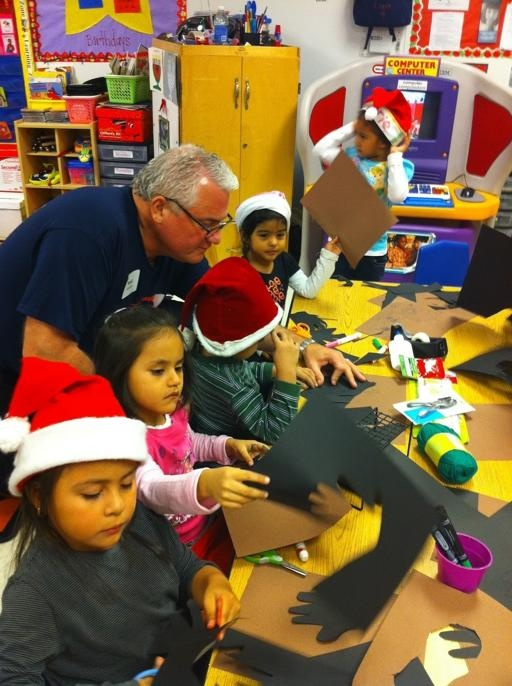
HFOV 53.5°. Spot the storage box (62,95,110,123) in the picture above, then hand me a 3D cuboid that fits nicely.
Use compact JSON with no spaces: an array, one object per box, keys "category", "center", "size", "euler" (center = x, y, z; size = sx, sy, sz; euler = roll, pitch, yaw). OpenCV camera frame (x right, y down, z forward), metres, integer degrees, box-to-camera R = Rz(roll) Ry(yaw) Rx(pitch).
[{"category":"storage box","center":[-1.255,-1.662,3.622],"size":[0.197,0.153,0.243],"euler":[0,43,-4]}]

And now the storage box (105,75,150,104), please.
[{"category":"storage box","center":[-0.901,-1.749,3.502],"size":[0.197,0.134,0.265],"euler":[6,31,1]}]

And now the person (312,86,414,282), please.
[{"category":"person","center":[0.596,-0.762,2.745],"size":[0.550,1.089,0.574],"euler":[4,28,4]}]

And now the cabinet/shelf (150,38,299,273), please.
[{"category":"cabinet/shelf","center":[-0.125,-1.261,3.586],"size":[0.849,1.432,1.208],"euler":[0,26,-1]}]

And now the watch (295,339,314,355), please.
[{"category":"watch","center":[0.151,0.008,1.586],"size":[0.057,0.051,0.035],"euler":[-23,75,-45]}]

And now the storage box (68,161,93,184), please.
[{"category":"storage box","center":[-1.322,-1.284,3.818],"size":[0.156,0.122,0.091],"euler":[4,34,1]}]

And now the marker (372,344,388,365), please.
[{"category":"marker","center":[0.397,0.034,1.595],"size":[0.046,0.012,0.052],"euler":[-7,35,45]}]

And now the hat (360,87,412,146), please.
[{"category":"hat","center":[0.667,-1.120,2.558],"size":[0.189,0.299,0.250],"euler":[-23,36,-38]}]

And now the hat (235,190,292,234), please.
[{"category":"hat","center":[0.036,-0.512,1.984],"size":[0.160,0.105,0.187],"euler":[-10,20,-24]}]

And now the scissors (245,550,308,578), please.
[{"category":"scissors","center":[0.031,0.375,0.864],"size":[0.088,0.014,0.034],"euler":[11,1,23]}]

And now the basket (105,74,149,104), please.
[{"category":"basket","center":[-0.900,-1.756,3.509],"size":[0.201,0.136,0.269],"euler":[5,30,1]}]

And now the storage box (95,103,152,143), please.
[{"category":"storage box","center":[-0.873,-1.612,3.719],"size":[0.446,0.231,0.441],"euler":[4,35,0]}]

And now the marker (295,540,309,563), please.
[{"category":"marker","center":[0.079,0.360,0.873],"size":[0.012,0.035,0.033],"euler":[-3,70,-7]}]

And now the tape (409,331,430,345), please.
[{"category":"tape","center":[0.518,-0.015,1.601],"size":[0.042,0.013,0.042],"euler":[36,37,14]}]
